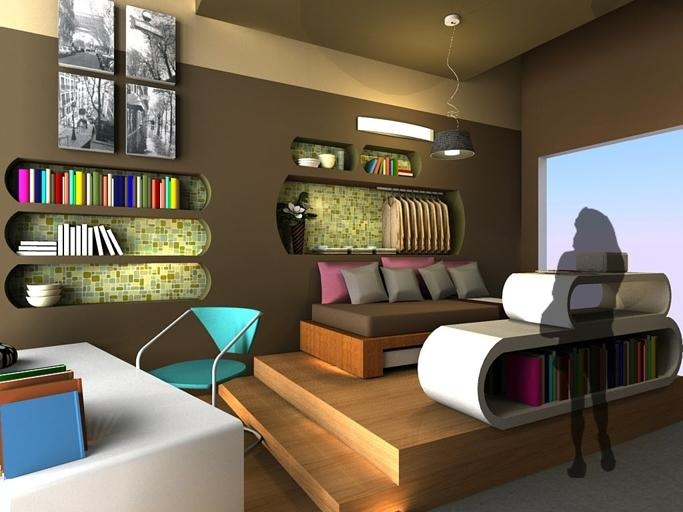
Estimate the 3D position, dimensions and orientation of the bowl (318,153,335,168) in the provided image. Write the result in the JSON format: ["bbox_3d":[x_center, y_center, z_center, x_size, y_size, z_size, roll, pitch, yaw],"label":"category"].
[{"bbox_3d":[-0.162,-1.109,5.605,0.168,0.137,0.183,0,-4,0],"label":"bowl"}]

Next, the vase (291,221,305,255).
[{"bbox_3d":[-0.500,-0.224,5.493,0.148,0.397,0.190,-2,10,-11],"label":"vase"}]

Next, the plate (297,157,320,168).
[{"bbox_3d":[-0.372,-1.077,5.439,0.253,0.118,0.268,-1,10,-4],"label":"plate"}]

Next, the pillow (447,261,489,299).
[{"bbox_3d":[1.499,0.284,5.668,0.435,0.413,0.129,-3,-25,-29],"label":"pillow"}]

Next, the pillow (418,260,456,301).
[{"bbox_3d":[1.118,0.280,5.508,0.406,0.386,0.119,-17,-12,-44],"label":"pillow"}]

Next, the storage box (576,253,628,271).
[{"bbox_3d":[2.113,0.038,3.771,0.415,0.182,0.206,-1,10,-3],"label":"storage box"}]

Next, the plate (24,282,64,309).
[{"bbox_3d":[-2.650,0.350,4.240,0.227,0.168,0.225,2,-6,-13],"label":"plate"}]

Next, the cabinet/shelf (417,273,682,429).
[{"bbox_3d":[1.671,0.628,3.697,2.171,1.073,0.570,-4,10,-23],"label":"cabinet/shelf"}]

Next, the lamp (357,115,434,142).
[{"bbox_3d":[0.706,-1.584,5.943,1.189,0.289,0.119,-6,11,-31],"label":"lamp"}]

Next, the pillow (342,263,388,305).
[{"bbox_3d":[0.264,0.300,5.152,0.450,0.377,0.401,-4,10,-21],"label":"pillow"}]
